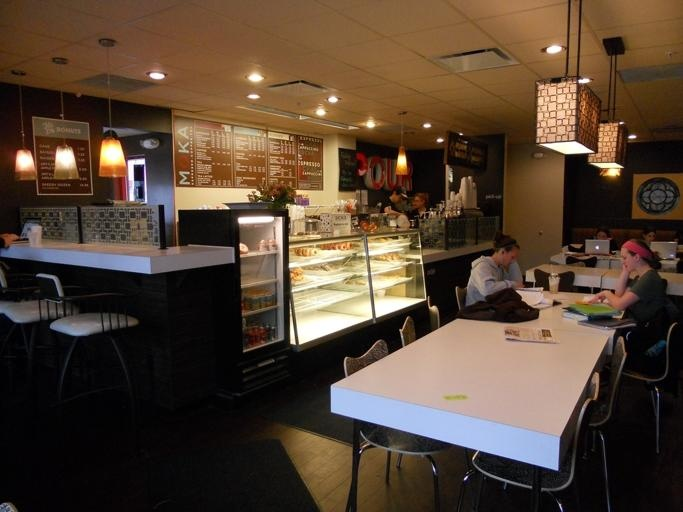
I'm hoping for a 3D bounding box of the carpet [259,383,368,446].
[{"bbox_3d":[-0.242,1.270,3.859,0.737,0.006,0.660,6,7,32],"label":"carpet"}]

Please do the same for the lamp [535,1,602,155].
[{"bbox_3d":[1.941,-1.460,4.138,0.486,1.154,0.999,7,15,26],"label":"lamp"}]

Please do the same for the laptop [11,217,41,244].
[{"bbox_3d":[-3.354,-0.270,5.242,0.316,0.263,0.229,4,11,3],"label":"laptop"}]

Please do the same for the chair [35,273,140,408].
[{"bbox_3d":[-2.110,0.675,4.114,0.773,1.011,0.694,1,0,41],"label":"chair"}]

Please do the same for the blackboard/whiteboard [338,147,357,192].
[{"bbox_3d":[0.098,-1.671,9.401,0.077,0.999,0.884,1,4,32],"label":"blackboard/whiteboard"}]

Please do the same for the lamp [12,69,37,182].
[{"bbox_3d":[-3.489,-1.387,5.346,0.196,1.153,0.552,-8,16,-31],"label":"lamp"}]

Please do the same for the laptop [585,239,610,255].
[{"bbox_3d":[4.099,-0.196,7.865,0.343,0.227,0.243,3,6,37],"label":"laptop"}]

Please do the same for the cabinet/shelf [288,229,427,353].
[{"bbox_3d":[0.159,0.241,5.532,0.542,1.036,2.160,7,12,42],"label":"cabinet/shelf"}]

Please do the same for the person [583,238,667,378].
[{"bbox_3d":[2.650,0.552,4.509,0.767,1.343,0.589,-2,-3,35],"label":"person"}]

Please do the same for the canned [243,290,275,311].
[{"bbox_3d":[-0.789,0.423,4.644,0.183,0.110,0.250,9,11,36],"label":"canned"}]

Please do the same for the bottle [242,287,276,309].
[{"bbox_3d":[-0.793,0.406,4.669,0.219,0.086,0.221,1,5,0],"label":"bottle"}]

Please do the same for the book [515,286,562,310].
[{"bbox_3d":[1.715,0.377,4.374,0.239,0.084,0.243,6,10,40],"label":"book"}]
